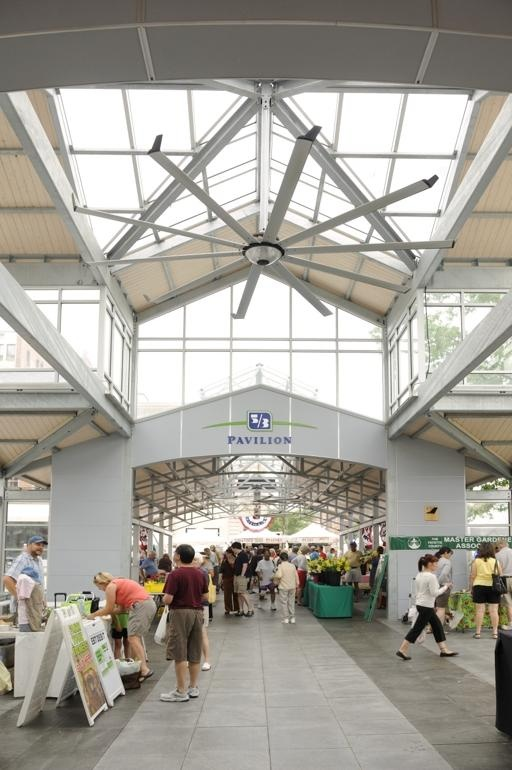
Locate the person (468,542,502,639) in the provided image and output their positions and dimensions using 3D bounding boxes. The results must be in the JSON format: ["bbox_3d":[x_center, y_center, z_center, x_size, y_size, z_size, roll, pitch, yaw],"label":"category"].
[{"bbox_3d":[4.193,3.755,11.112,0.513,1.710,1.405,-4,-13,18],"label":"person"}]

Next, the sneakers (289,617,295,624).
[{"bbox_3d":[0.838,5.440,14.079,0.130,0.175,0.375,-1,-12,9],"label":"sneakers"}]

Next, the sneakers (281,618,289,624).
[{"bbox_3d":[0.672,5.458,14.055,0.080,0.101,0.151,4,-6,-39],"label":"sneakers"}]

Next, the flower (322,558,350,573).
[{"bbox_3d":[2.102,4.746,16.211,0.522,0.303,0.507,6,-13,0],"label":"flower"}]

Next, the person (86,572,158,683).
[{"bbox_3d":[-1.573,2.785,7.034,0.833,1.222,0.421,-13,-23,6],"label":"person"}]

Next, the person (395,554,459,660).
[{"bbox_3d":[2.464,3.191,8.761,0.916,1.395,0.536,8,-13,-13],"label":"person"}]

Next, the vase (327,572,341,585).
[{"bbox_3d":[2.074,5.143,16.154,0.374,0.302,0.396,0,-12,2],"label":"vase"}]

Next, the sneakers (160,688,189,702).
[{"bbox_3d":[-0.823,3.208,6.300,0.321,0.143,0.114,6,-28,-2],"label":"sneakers"}]

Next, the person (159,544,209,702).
[{"bbox_3d":[-0.755,2.495,6.394,0.434,1.574,0.932,2,-13,-4],"label":"person"}]

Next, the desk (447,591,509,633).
[{"bbox_3d":[4.259,4.562,12.189,0.879,0.532,0.868,0,-7,-2],"label":"desk"}]

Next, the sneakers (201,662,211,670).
[{"bbox_3d":[-0.677,3.815,8.250,0.073,0.062,0.159,-1,-15,1],"label":"sneakers"}]

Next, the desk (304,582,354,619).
[{"bbox_3d":[1.968,5.682,16.027,0.919,0.784,1.133,3,-13,-10],"label":"desk"}]

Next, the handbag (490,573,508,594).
[{"bbox_3d":[4.245,3.496,10.641,0.327,0.356,0.122,12,-17,-42],"label":"handbag"}]
